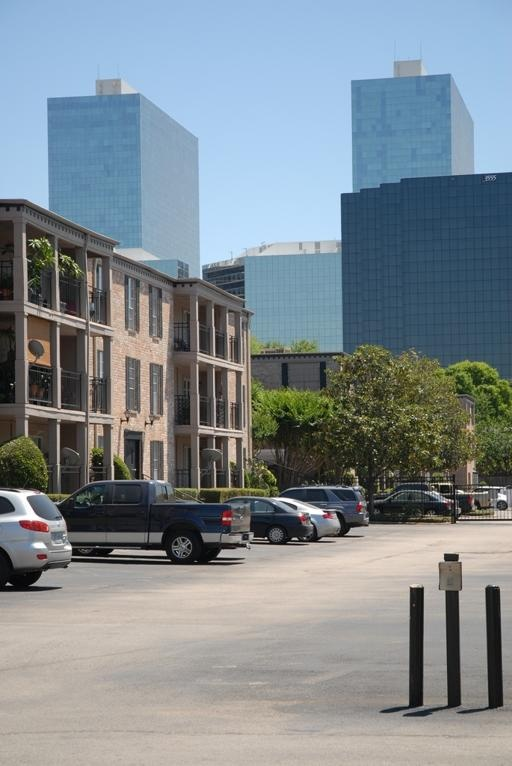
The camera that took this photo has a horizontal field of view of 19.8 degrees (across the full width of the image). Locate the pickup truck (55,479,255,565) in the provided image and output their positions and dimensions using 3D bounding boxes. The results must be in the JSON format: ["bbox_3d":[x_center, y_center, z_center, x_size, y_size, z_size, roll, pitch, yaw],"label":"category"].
[{"bbox_3d":[-1.650,2.433,25.562,2.930,1.186,1.498,1,-3,17],"label":"pickup truck"}]
